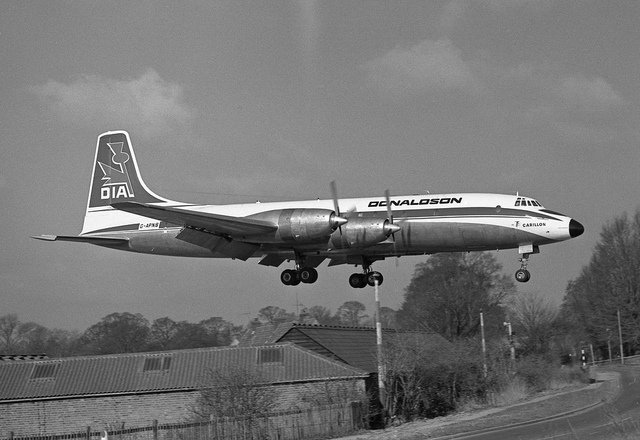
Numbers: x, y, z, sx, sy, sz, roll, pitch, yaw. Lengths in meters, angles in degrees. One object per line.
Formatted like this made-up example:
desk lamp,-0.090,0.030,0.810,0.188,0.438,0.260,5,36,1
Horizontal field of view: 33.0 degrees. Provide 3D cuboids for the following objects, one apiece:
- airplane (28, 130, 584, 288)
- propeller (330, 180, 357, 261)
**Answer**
airplane,-1.502,-1.443,74.610,39.727,10.209,37.331,-2,-3,32
propeller,1.472,-0.085,69.308,1.578,4.672,1.269,-5,7,24
